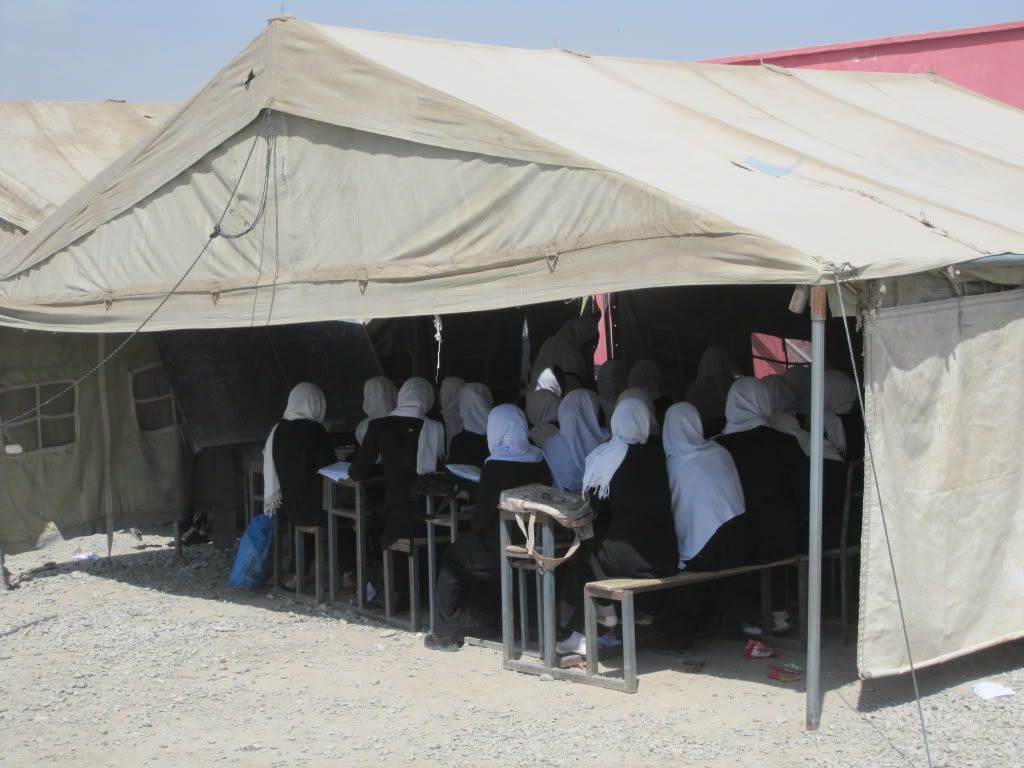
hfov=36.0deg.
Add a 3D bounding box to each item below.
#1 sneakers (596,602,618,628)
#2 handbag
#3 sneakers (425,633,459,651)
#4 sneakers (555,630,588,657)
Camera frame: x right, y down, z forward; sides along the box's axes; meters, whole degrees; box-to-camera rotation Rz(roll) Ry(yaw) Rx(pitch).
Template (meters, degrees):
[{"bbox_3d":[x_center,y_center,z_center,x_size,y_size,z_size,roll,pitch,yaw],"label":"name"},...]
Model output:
[{"bbox_3d":[0.651,1.593,10.788,0.115,0.150,0.175,-1,1,-35],"label":"sneakers"},{"bbox_3d":[0.172,0.939,10.669,0.616,0.672,0.561,-2,4,-45],"label":"handbag"},{"bbox_3d":[-0.510,1.871,11.376,0.122,0.057,0.155,4,-1,-37],"label":"sneakers"},{"bbox_3d":[0.405,1.802,10.927,0.092,0.107,0.262,5,-4,-35],"label":"sneakers"}]
